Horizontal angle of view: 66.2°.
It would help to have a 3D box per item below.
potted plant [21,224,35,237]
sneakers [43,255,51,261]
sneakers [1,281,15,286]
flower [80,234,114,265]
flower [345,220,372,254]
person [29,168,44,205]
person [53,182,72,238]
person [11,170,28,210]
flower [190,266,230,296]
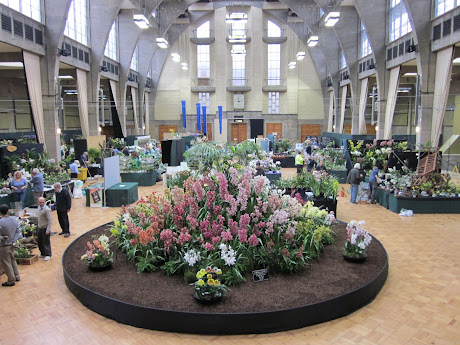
[{"bbox_3d":[-4.799,1.382,8.421,0.276,0.292,0.276,15,15,27],"label":"potted plant"},{"bbox_3d":[-4.049,1.888,7.788,0.088,0.073,0.176,2,-8,-19],"label":"sneakers"},{"bbox_3d":[-4.293,2.147,6.787,0.247,0.107,0.093,5,8,-11],"label":"sneakers"},{"bbox_3d":[-2.546,1.541,6.773,0.602,0.468,0.588,4,1,6],"label":"flower"},{"bbox_3d":[2.506,1.247,6.925,0.441,0.716,0.369,7,16,29],"label":"flower"},{"bbox_3d":[-5.865,0.430,10.718,0.329,1.183,0.639,-9,16,-31],"label":"person"},{"bbox_3d":[-4.222,0.901,8.918,0.354,1.501,0.842,-8,15,-27],"label":"person"},{"bbox_3d":[-6.252,0.524,10.485,0.437,1.104,0.727,-10,16,-33],"label":"person"},{"bbox_3d":[-0.335,1.806,5.779,0.493,0.304,0.507,3,8,3],"label":"flower"}]
